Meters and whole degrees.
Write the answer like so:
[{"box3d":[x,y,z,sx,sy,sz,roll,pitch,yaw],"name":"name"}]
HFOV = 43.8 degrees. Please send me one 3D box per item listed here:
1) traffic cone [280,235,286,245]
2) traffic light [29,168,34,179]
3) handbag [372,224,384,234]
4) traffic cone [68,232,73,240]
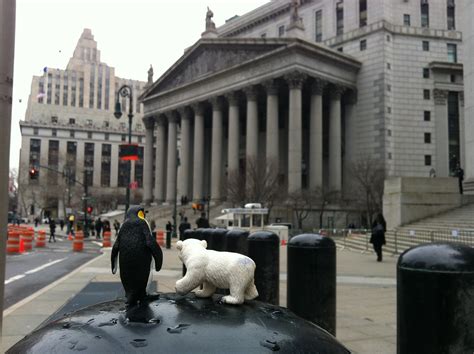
[{"box3d":[2.787,3.848,35.484,0.403,0.555,0.432,2,-21,-4],"name":"traffic cone"},{"box3d":[-13.775,-0.247,39.792,0.214,0.645,0.968,1,-5,-20],"name":"traffic light"},{"box3d":[5.371,1.968,22.572,0.416,0.352,0.511,-5,-6,39],"name":"handbag"},{"box3d":[-13.978,4.922,49.449,0.395,0.465,0.415,-5,-19,22],"name":"traffic cone"}]
